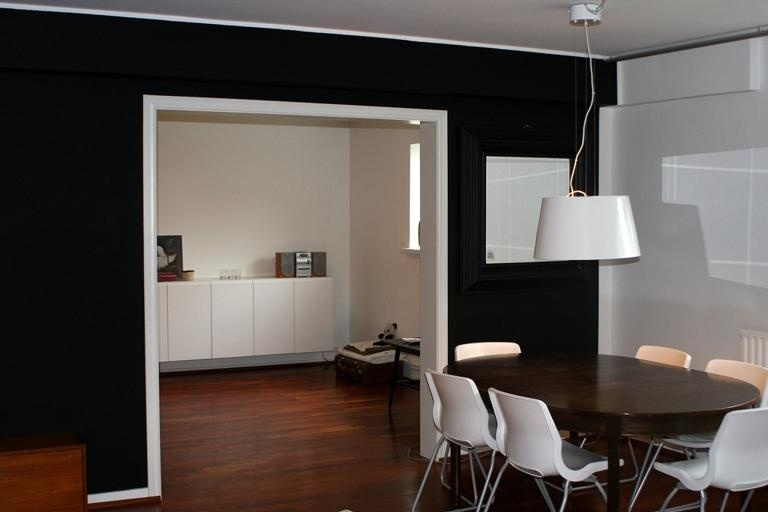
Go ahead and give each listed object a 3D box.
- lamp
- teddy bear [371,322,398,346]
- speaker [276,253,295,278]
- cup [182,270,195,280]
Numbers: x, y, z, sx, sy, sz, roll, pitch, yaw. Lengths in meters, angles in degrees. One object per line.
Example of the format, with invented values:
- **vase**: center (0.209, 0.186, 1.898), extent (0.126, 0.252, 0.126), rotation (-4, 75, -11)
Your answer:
- **lamp**: center (1.622, -0.934, 4.283), extent (0.652, 2.055, 1.682), rotation (2, 4, 25)
- **teddy bear**: center (0.001, 1.098, 7.886), extent (0.318, 0.381, 0.277), rotation (5, -4, -13)
- **speaker**: center (-1.510, 0.134, 8.494), extent (0.304, 0.448, 0.357), rotation (2, -2, -33)
- **cup**: center (-2.875, 0.277, 8.153), extent (0.123, 0.109, 0.150), rotation (-3, -9, 17)
